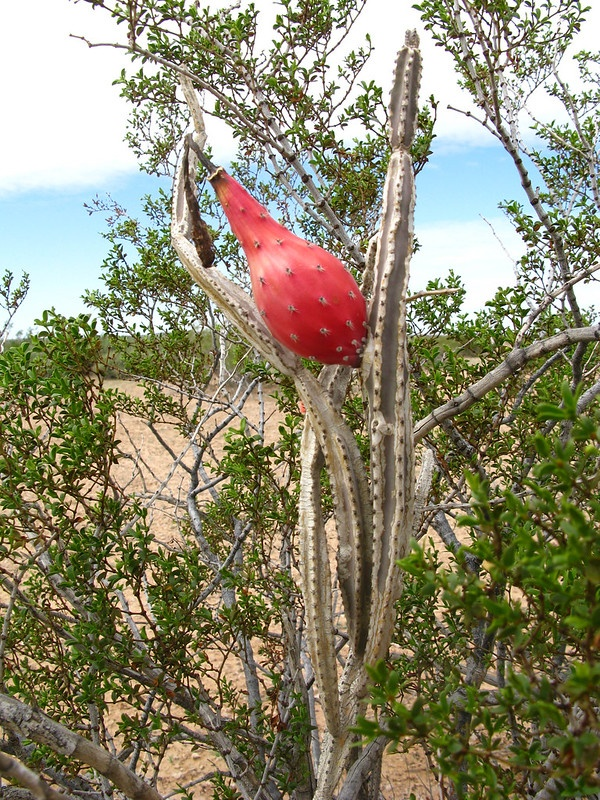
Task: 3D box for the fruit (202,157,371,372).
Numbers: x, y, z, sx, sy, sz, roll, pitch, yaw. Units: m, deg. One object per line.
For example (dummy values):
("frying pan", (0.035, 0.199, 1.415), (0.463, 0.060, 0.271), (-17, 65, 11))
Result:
("fruit", (-0.012, -0.455, 3.070), (0.401, 0.883, 0.353), (-29, -2, -5))
